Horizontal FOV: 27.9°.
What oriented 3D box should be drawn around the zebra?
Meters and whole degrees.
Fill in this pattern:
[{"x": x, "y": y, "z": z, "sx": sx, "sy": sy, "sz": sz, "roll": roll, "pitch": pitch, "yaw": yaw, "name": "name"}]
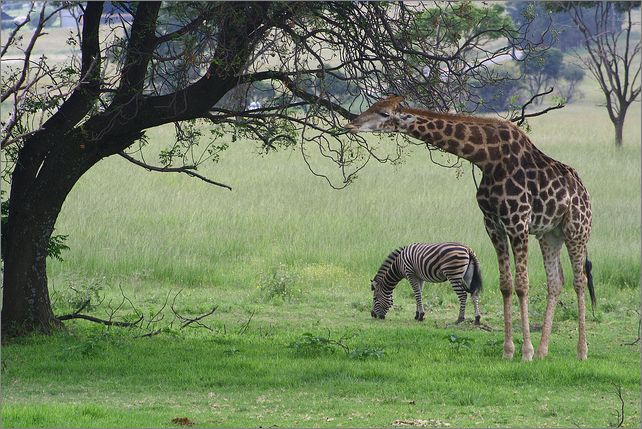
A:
[{"x": 3.518, "y": 2.392, "z": 44.734, "sx": 4.002, "sy": 2.803, "sz": 1.052, "roll": -6, "pitch": 1, "yaw": 26, "name": "zebra"}]
